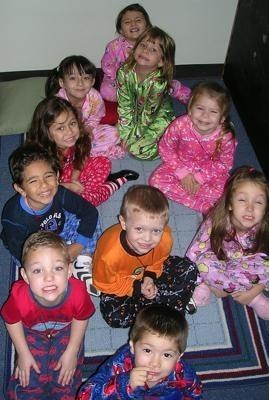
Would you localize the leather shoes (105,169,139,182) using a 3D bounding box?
[{"bbox_3d":[-0.073,-0.146,2.055,0.197,0.074,0.070,-10,69,1],"label":"leather shoes"}]

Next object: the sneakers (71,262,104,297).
[{"bbox_3d":[-0.224,0.329,1.542,0.074,0.096,0.221,-23,57,-30],"label":"sneakers"}]

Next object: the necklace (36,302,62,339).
[{"bbox_3d":[-0.308,0.432,1.174,0.067,0.088,0.031,4,21,-3],"label":"necklace"}]

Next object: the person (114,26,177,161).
[{"bbox_3d":[-0.004,-0.633,2.023,0.479,0.724,0.453,3,57,2],"label":"person"}]
